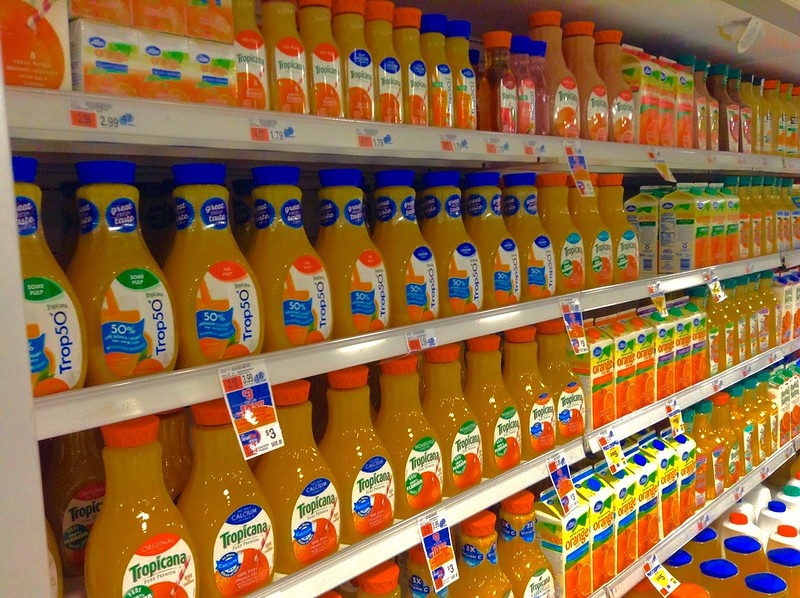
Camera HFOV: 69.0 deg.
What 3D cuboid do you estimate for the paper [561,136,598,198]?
[{"bbox_3d":[0.579,-0.431,1.881,0.009,0.251,0.177,-17,0,38],"label":"paper"}]

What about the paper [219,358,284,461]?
[{"bbox_3d":[-0.291,0.235,1.197,0.087,0.230,0.145,-5,7,9],"label":"paper"}]

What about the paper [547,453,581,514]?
[{"bbox_3d":[0.515,0.583,1.827,0.011,0.242,0.128,-9,13,40],"label":"paper"}]
